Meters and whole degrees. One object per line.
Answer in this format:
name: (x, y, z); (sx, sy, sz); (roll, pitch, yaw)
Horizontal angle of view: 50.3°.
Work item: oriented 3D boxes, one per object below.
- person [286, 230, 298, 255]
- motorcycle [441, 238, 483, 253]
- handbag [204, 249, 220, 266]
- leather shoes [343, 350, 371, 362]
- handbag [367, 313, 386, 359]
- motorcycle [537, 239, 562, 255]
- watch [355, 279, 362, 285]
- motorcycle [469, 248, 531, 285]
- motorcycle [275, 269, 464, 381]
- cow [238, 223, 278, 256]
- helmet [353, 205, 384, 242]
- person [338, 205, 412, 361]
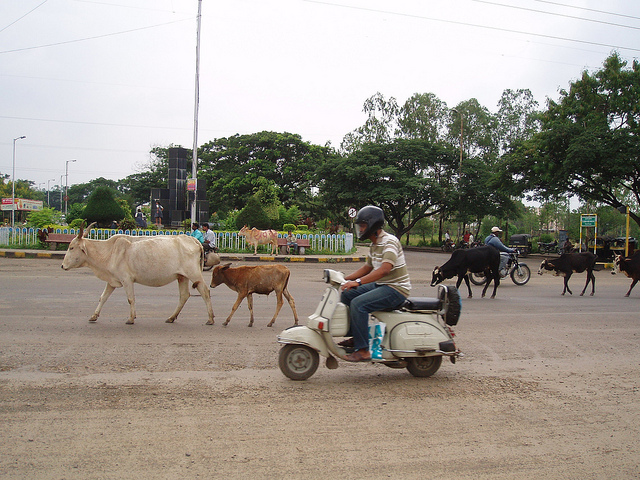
person: (-1.274, 0.175, 31.547); (0.587, 0.953, 1.190); (1, 12, -4)
motorcycle: (7.266, 0.265, 35.205); (1.284, 0.827, 0.715); (-7, 17, -15)
handbag: (-3.190, 0.630, 20.419); (0.430, 0.458, 0.445); (11, 20, 14)
leather shoes: (0.533, 1.629, 9.609); (0.307, 0.145, 0.148); (2, -2, -6)
handbag: (0.800, 1.403, 9.718); (0.471, 0.542, 0.257); (5, -6, -40)
motorcycle: (14.605, 0.512, 43.398); (1.337, 0.873, 0.692); (-1, 10, 3)
watch: (0.544, 0.597, 9.596); (0.043, 0.070, 0.075); (-3, 49, -3)
motorcycle: (5.607, 1.006, 20.878); (1.841, 1.249, 1.086); (-3, 12, -12)
motorcycle: (0.673, 1.315, 10.417); (2.690, 1.746, 1.341); (1, -4, -6)
cow: (-2.588, 0.049, 30.152); (1.441, 1.318, 2.138); (-2, 13, -16)
helmet: (0.698, -0.241, 9.807); (0.445, 0.502, 0.386); (0, 3, 2)
person: (0.746, 0.674, 9.808); (1.005, 2.262, 0.643); (-5, 13, -27)
